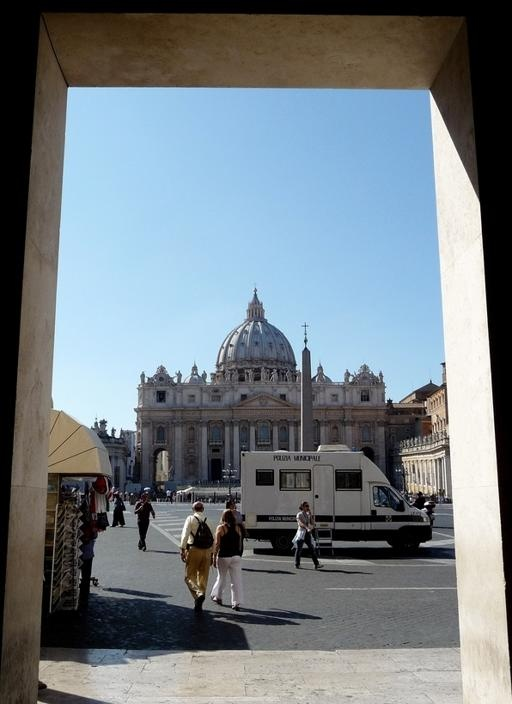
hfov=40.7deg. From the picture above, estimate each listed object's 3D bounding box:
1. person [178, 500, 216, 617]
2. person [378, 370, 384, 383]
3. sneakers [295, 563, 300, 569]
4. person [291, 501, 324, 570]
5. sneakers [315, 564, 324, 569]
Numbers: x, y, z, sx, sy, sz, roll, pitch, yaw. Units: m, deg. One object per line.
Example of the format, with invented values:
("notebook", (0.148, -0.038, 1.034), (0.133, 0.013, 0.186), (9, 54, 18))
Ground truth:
("person", (-0.861, 2.976, 10.199), (0.480, 1.512, 1.397), (1, -11, -5))
("person", (20.087, 4.392, 111.706), (0.523, 1.956, 1.569), (0, -10, -1))
("sneakers", (0.947, 4.900, 15.786), (0.119, 0.089, 0.206), (1, 0, 1))
("person", (1.212, 4.320, 16.321), (0.584, 1.485, 2.104), (-1, -12, 3))
("sneakers", (1.422, 4.858, 15.580), (0.177, 0.100, 0.557), (-2, -13, 8))
